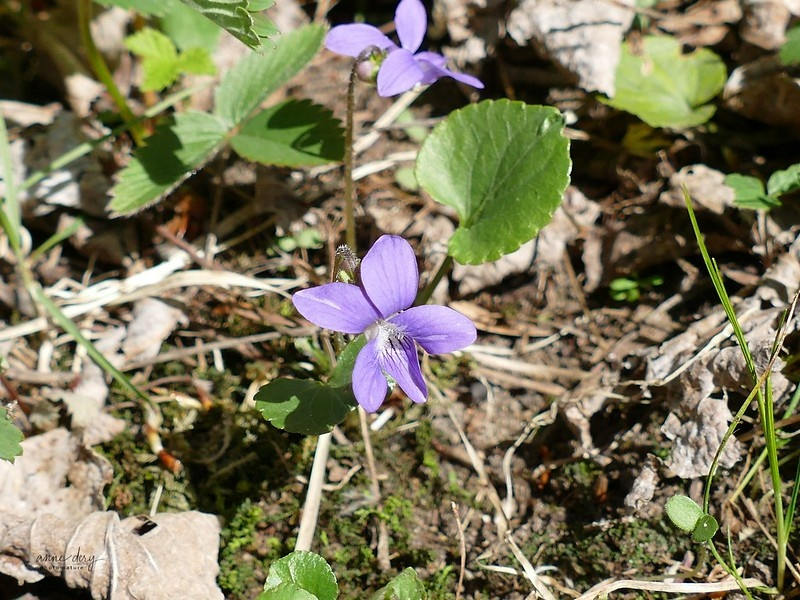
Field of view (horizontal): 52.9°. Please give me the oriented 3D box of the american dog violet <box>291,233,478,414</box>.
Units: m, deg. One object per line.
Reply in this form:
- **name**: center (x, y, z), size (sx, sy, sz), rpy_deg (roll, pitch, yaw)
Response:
- **american dog violet**: center (-0.038, 0.080, 3.311), size (0.635, 0.201, 0.714), rpy_deg (-29, 88, 1)
